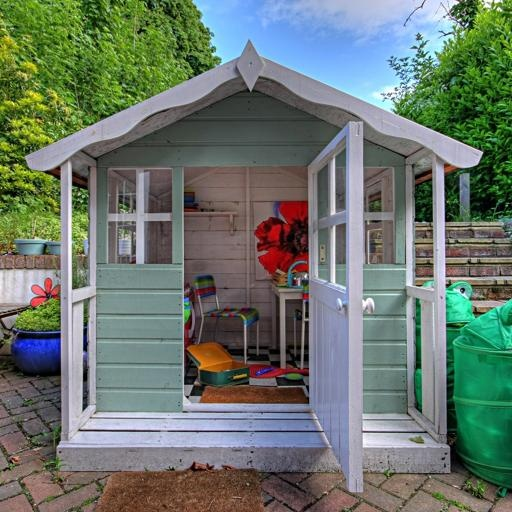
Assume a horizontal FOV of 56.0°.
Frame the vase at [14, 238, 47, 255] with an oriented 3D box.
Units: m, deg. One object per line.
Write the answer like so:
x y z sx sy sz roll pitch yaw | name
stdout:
-2.680 -0.106 5.725 0.263 0.113 0.239 0 -6 -4 | vase

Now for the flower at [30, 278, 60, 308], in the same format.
-2.220 0.399 5.125 0.371 0.313 0.085 -1 -26 0 | flower

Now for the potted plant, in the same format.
-2.125 0.807 5.090 0.866 0.535 0.884 0 -5 11 | potted plant

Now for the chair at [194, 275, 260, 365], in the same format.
-0.351 0.700 5.738 0.792 0.966 1.112 0 -2 -7 | chair

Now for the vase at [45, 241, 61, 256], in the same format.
-2.386 -0.092 5.682 0.219 0.135 0.200 2 1 3 | vase

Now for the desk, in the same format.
0.345 0.837 5.608 0.455 0.825 0.975 0 1 -2 | desk

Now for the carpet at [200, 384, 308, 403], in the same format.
-0.019 1.223 4.243 0.916 0.045 0.511 0 -2 -1 | carpet
